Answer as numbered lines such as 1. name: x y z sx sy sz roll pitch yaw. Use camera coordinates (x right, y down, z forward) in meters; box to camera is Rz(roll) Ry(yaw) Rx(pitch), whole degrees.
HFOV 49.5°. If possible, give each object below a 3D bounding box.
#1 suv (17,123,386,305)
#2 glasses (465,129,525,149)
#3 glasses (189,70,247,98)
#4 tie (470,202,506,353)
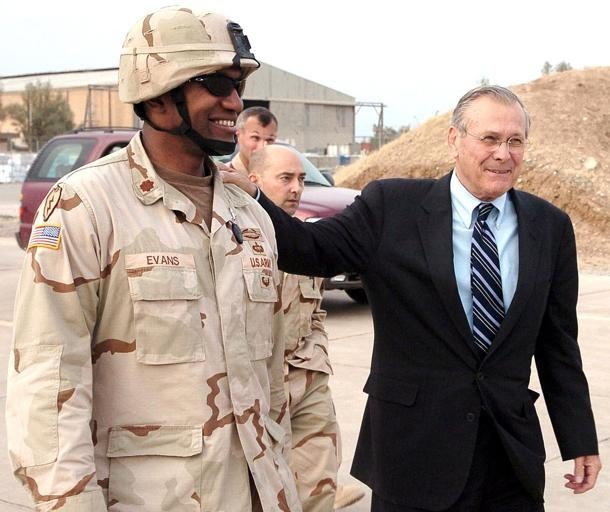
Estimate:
1. suv: -1.681 -0.735 9.864 5.247 2.274 2.605 -1 2 27
2. glasses: 0.733 -0.437 2.521 0.226 0.079 0.067 0 1 -1
3. glasses: -0.250 -0.509 1.972 0.107 0.036 0.098 7 8 40
4. tie: 0.699 0.085 2.560 0.137 0.568 0.142 0 1 -1
